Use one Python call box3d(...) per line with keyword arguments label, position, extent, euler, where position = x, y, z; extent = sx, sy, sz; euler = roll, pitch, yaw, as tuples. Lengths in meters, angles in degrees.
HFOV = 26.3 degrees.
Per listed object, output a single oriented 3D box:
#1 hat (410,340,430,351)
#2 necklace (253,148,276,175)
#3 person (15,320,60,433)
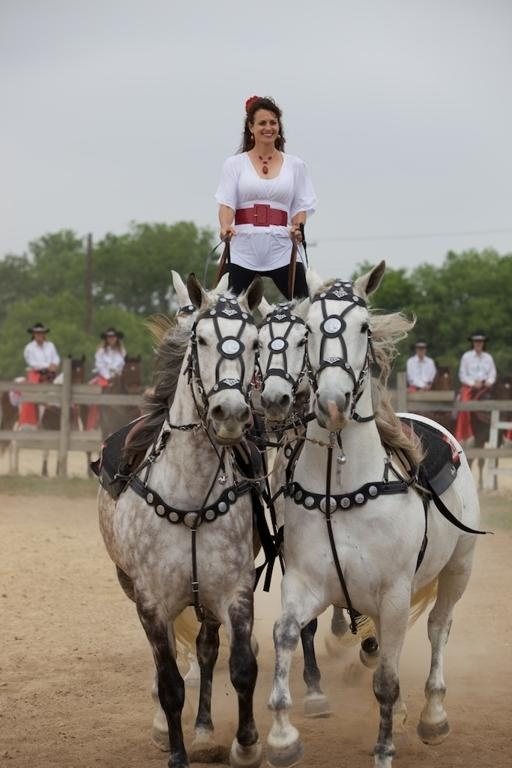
box3d(label="hat", position=(2.472, -0.613, 16.324), extent=(0.327, 0.120, 0.345), euler=(2, 2, 3))
box3d(label="necklace", position=(0.050, -1.347, 6.644), extent=(0.148, 0.134, 0.037), euler=(1, -13, -9))
box3d(label="person", position=(-2.564, -0.146, 13.325), extent=(0.489, 1.227, 0.543), euler=(22, 28, 38))
